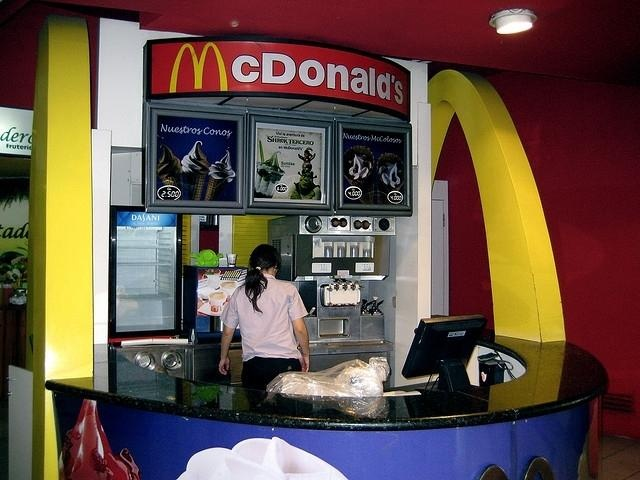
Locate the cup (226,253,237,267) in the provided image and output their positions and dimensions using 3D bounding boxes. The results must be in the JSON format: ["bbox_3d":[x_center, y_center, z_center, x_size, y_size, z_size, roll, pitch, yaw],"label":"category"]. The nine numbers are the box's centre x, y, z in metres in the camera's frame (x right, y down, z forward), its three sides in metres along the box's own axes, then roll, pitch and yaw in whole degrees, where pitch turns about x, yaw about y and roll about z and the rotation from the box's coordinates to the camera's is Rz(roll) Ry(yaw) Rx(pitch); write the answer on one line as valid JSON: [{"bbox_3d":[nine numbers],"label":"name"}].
[{"bbox_3d":[-0.806,0.190,5.515,0.098,0.124,0.103,0,-2,0],"label":"cup"}]

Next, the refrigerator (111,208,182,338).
[{"bbox_3d":[-1.541,0.274,5.270,0.576,0.959,0.631,3,-1,-20],"label":"refrigerator"}]

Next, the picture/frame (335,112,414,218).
[{"bbox_3d":[0.452,-0.668,5.288,0.843,0.923,0.087,-1,2,-24],"label":"picture/frame"}]

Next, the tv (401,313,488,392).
[{"bbox_3d":[0.808,0.733,3.868,0.540,0.486,0.226,3,-1,-32],"label":"tv"}]

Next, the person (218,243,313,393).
[{"bbox_3d":[-0.438,0.591,4.675,0.710,0.818,0.614,2,-1,0],"label":"person"}]

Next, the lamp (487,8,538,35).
[{"bbox_3d":[1.377,-1.556,4.285,0.325,0.065,0.245,3,0,22],"label":"lamp"}]

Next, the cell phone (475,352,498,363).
[{"bbox_3d":[1.350,0.952,4.847,0.105,0.032,0.109,-2,-2,-14],"label":"cell phone"}]
